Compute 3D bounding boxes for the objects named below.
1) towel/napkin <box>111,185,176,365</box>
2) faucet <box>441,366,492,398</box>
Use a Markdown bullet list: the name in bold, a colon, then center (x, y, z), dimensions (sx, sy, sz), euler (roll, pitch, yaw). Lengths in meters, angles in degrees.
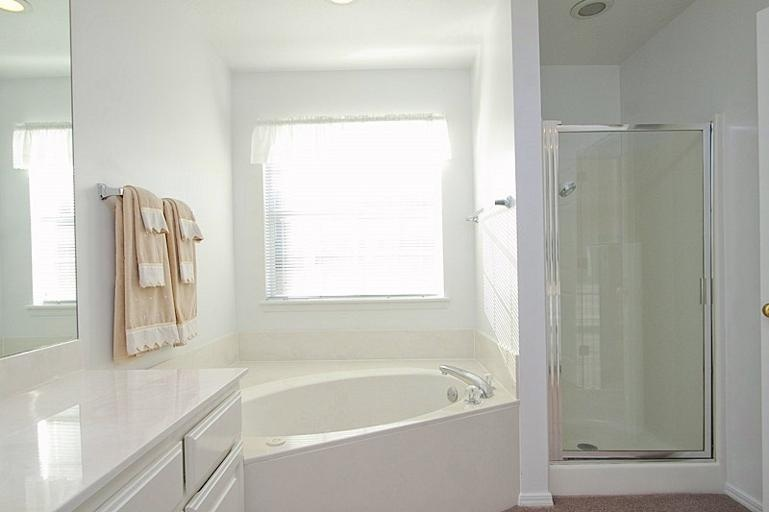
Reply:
- **towel/napkin**: center (-1.381, 0.082, 3.465), dimensions (0.109, 0.802, 0.404), euler (-2, 2, 29)
- **faucet**: center (0.515, 0.825, 3.988), dimensions (0.118, 0.133, 0.535), euler (0, -2, -20)
